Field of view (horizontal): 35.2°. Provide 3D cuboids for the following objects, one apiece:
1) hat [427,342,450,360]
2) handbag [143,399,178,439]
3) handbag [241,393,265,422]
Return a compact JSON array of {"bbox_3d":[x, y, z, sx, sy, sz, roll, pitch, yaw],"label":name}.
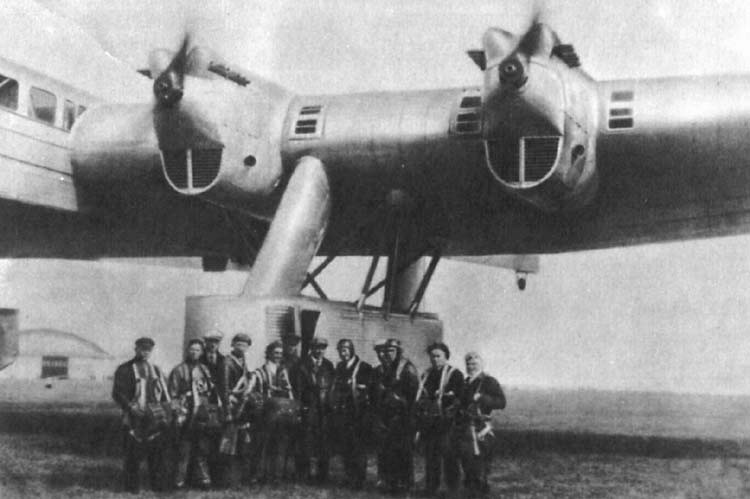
[{"bbox_3d":[0.740,1.159,13.722,0.193,0.204,0.069,29,-18,9],"label":"hat"},{"bbox_3d":[-2.519,1.971,14.000,0.461,0.474,0.344,-1,-1,-5],"label":"handbag"},{"bbox_3d":[-1.431,1.833,13.756,0.234,0.329,0.123,-6,2,7],"label":"handbag"}]
